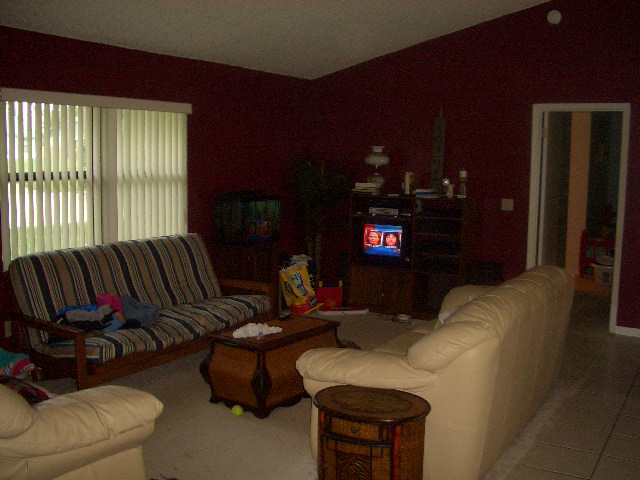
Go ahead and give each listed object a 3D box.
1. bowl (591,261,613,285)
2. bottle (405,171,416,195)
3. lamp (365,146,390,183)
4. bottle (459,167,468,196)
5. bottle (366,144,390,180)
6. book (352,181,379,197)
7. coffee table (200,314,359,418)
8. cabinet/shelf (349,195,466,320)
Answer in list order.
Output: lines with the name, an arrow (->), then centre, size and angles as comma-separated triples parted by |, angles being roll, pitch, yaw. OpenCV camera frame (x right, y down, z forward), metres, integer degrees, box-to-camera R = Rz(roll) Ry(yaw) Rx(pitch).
bowl -> 4.334, 0.526, 7.988 | 0.336, 0.256, 0.320 | -2, 3, 0
bottle -> 1.147, -0.718, 6.611 | 0.146, 0.260, 0.264 | -1, 7, 9
lamp -> 0.741, -0.982, 6.928 | 0.379, 0.526, 0.341 | 2, 11, 3
bottle -> 1.773, -0.706, 6.401 | 0.101, 0.335, 0.515 | 0, 7, 15
bottle -> 0.743, -1.010, 6.919 | 0.363, 0.466, 0.359 | 3, -2, 0
book -> 0.575, -0.662, 6.680 | 0.310, 0.146, 0.112 | -2, 7, -1
coffee table -> -0.362, 1.014, 4.400 | 0.669, 0.510, 1.145 | 4, 6, 35
cabinet/shelf -> 1.152, 0.179, 6.612 | 1.595, 1.370, 0.538 | 4, 7, 35
